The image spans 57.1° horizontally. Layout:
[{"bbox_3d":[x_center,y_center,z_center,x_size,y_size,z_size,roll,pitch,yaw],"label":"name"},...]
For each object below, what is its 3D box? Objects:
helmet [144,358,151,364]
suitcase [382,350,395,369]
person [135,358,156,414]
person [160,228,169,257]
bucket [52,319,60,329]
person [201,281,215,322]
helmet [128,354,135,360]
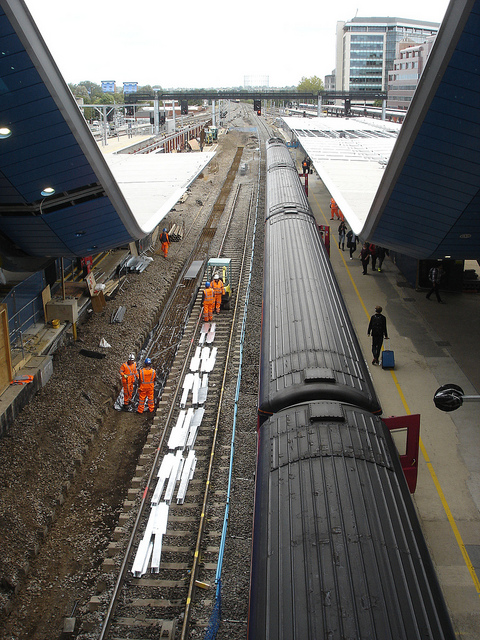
[{"bbox_3d":[-2.421,1.096,11.831,0.154,0.161,0.123,-4,27,-5],"label":"helmet"},{"bbox_3d":[4.483,1.211,13.398,0.422,0.774,0.283,-1,-14,8],"label":"suitcase"},{"bbox_3d":[-2.617,1.809,12.596,0.543,1.702,0.491,-6,27,-22],"label":"person"},{"bbox_3d":[-4.050,-4.172,24.438,0.365,1.464,0.719,-8,29,-9],"label":"person"},{"bbox_3d":[-6.077,0.140,14.759,0.197,0.311,0.286,3,4,39],"label":"bucket"},{"bbox_3d":[-1.229,-0.638,17.597,0.462,1.309,0.915,-1,29,4],"label":"person"},{"bbox_3d":[-2.902,1.016,12.041,0.117,0.169,0.173,0,8,-7],"label":"helmet"}]
